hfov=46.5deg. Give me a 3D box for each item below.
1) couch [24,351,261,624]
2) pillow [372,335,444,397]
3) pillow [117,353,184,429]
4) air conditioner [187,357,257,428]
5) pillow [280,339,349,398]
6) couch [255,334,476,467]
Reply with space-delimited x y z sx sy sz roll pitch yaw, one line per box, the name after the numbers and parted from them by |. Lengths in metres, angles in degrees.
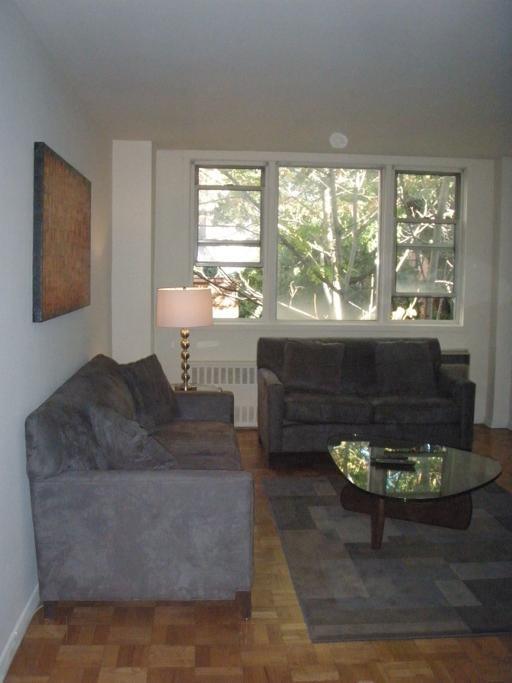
-0.462 0.528 2.891 0.872 0.719 1.518 0 8 -4 | couch
1.181 0.188 4.458 0.471 0.404 0.165 -1 -6 -1 | pillow
-0.522 0.290 3.378 0.114 0.350 0.374 -16 12 9 | pillow
-0.272 0.364 4.625 0.657 0.554 0.271 0 10 1 | air conditioner
0.441 0.218 4.645 0.426 0.371 0.123 5 -16 0 | pillow
0.789 0.423 4.525 1.518 0.796 0.738 0 11 -6 | couch
